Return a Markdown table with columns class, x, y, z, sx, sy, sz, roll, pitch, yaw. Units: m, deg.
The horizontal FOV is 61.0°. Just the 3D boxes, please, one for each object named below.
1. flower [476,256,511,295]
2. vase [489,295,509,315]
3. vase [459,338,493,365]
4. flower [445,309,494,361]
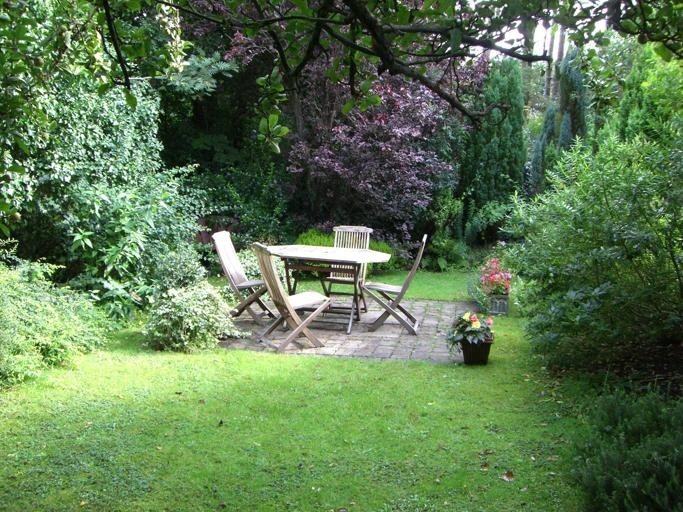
| class | x | y | z | sx | sy | sz | roll | pitch | yaw |
| --- | --- | --- | --- | --- | --- | --- | --- | --- | --- |
| flower | 2.359 | 0.331 | 9.015 | 0.536 | 0.688 | 0.585 | -2 | -7 | 3 |
| vase | 2.382 | 0.732 | 8.780 | 0.277 | 0.280 | 0.281 | 0 | 1 | -11 |
| vase | 1.503 | 1.080 | 6.476 | 0.321 | 0.239 | 0.274 | 0 | -1 | 6 |
| flower | 1.479 | 0.908 | 6.721 | 0.543 | 0.566 | 0.558 | -1 | -1 | 8 |
